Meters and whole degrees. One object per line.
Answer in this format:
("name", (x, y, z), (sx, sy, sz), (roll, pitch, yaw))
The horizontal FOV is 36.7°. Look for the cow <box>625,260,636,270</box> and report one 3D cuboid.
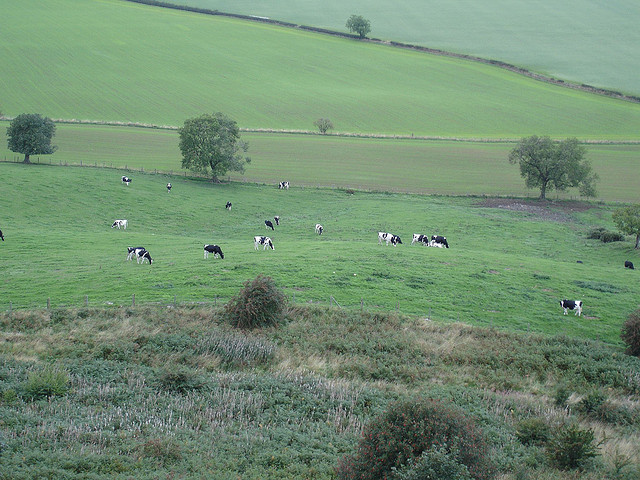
("cow", (72.081, 5.744, 222.847), (2.289, 1.535, 2.118), (1, 9, 0))
